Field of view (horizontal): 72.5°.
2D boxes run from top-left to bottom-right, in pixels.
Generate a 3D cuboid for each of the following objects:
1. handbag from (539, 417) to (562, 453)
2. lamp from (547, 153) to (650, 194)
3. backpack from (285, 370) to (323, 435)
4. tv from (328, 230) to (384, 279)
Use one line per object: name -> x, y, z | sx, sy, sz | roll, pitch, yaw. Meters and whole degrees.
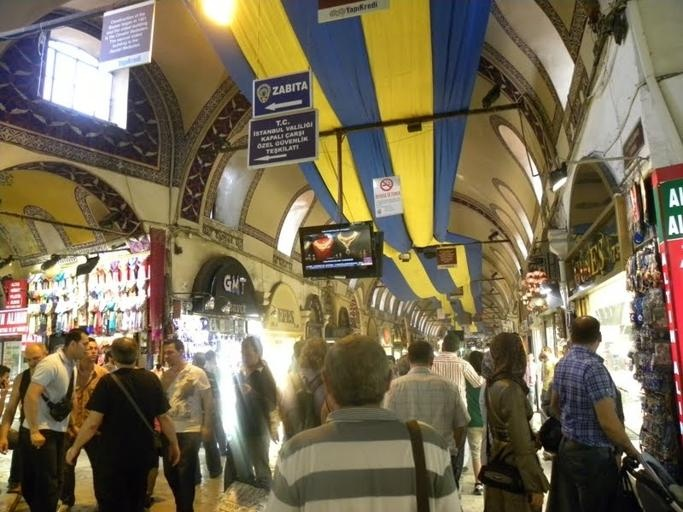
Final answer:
handbag -> 1.881, 1.634, 4.187 | 0.105, 0.333, 0.236 | 6, 6, 26
lamp -> 3.115, -1.111, 6.022 | 0.704, 0.304, 0.485 | -6, -2, 25
backpack -> -0.329, 1.312, 4.117 | 0.379, 0.557, 0.205 | -2, -10, 8
tv -> 0.379, -0.046, 7.768 | 0.652, 0.754, 0.430 | -1, -10, 6
